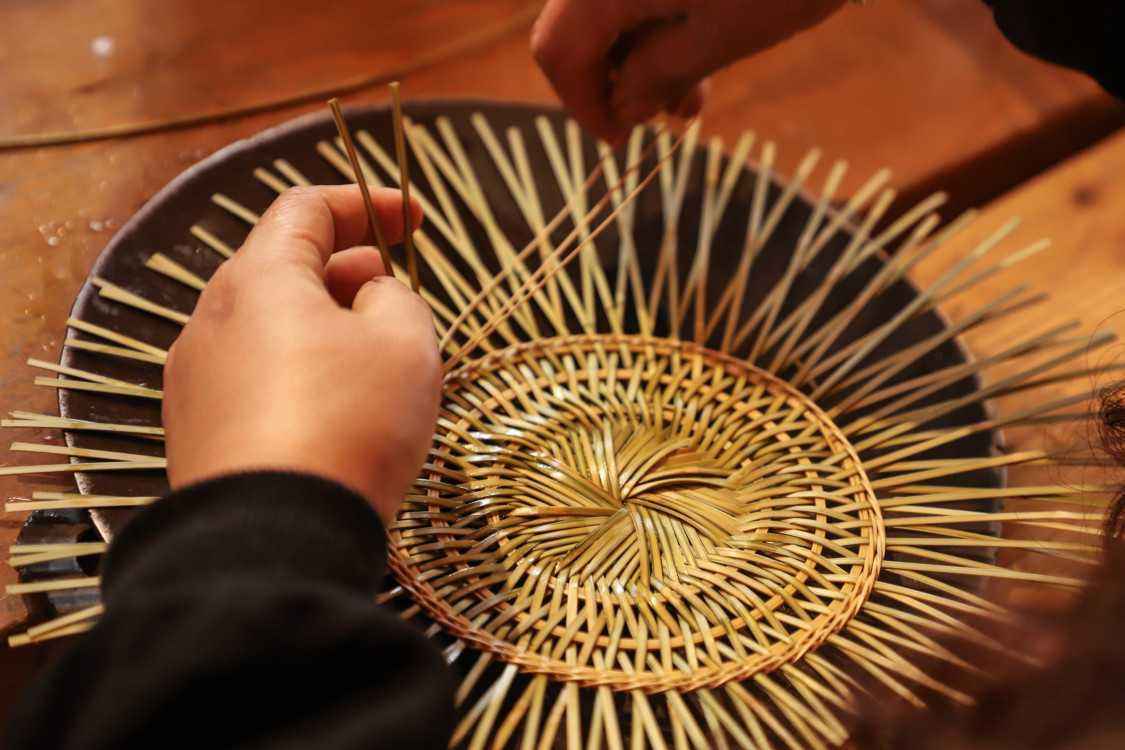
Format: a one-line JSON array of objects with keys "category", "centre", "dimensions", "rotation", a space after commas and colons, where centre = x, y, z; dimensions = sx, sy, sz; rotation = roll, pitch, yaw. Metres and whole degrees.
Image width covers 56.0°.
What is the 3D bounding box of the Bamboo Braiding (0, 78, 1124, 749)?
[{"category": "Bamboo Braiding", "centre": [0.047, 0.085, 0.849], "dimensions": [0.624, 0.154, 0.551], "rotation": [4, 55, -9]}]
